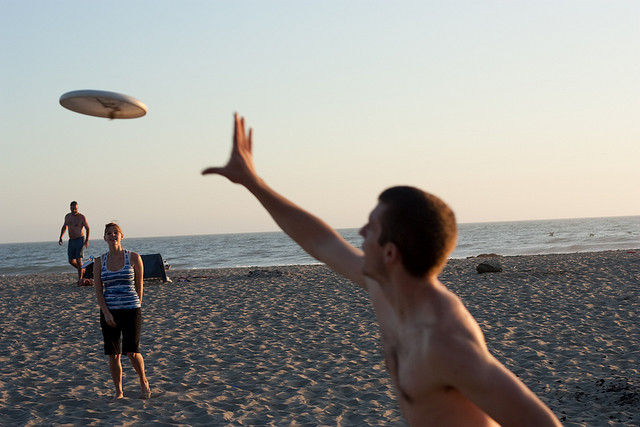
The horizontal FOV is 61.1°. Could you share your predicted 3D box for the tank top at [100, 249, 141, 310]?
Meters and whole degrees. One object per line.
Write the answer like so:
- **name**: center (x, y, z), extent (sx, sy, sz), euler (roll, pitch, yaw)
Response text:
- **tank top**: center (-2.738, 0.920, 7.426), extent (0.509, 0.756, 0.366), euler (-3, 3, -11)
